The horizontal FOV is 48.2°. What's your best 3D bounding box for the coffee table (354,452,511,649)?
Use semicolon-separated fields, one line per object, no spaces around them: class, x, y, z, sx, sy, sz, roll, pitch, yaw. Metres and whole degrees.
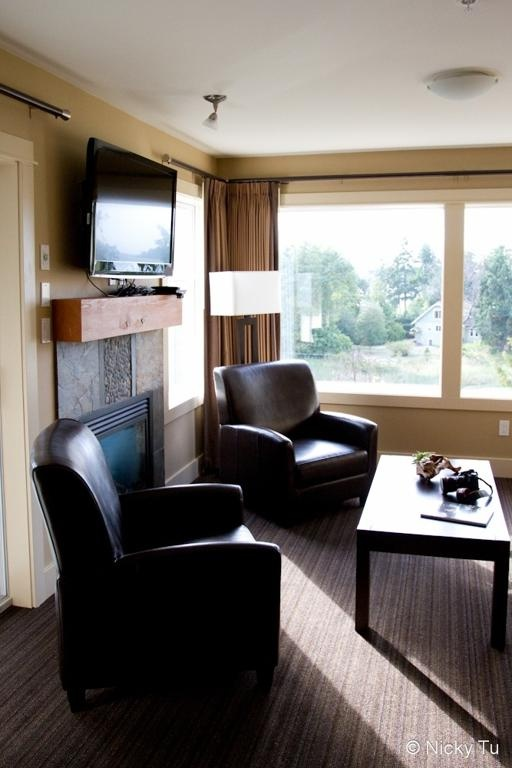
coffee table;0.772;0.706;2.543;0.583;0.477;0.906;1;5;17

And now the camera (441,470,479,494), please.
camera;0.926;0.433;2.566;0.110;0.079;0.111;-6;0;-4

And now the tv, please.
tv;-0.626;-0.840;2.891;0.087;0.604;0.803;9;14;19

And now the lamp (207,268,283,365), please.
lamp;-0.070;-0.460;3.938;0.303;0.633;0.513;3;6;40

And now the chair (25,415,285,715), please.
chair;-0.316;0.542;1.926;0.735;0.779;0.628;1;8;-3

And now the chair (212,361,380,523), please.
chair;0.207;0.352;3.784;0.946;1.137;0.955;-3;3;-37

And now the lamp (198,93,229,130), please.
lamp;-0.218;-1.381;2.930;0.159;0.212;0.153;21;29;37
